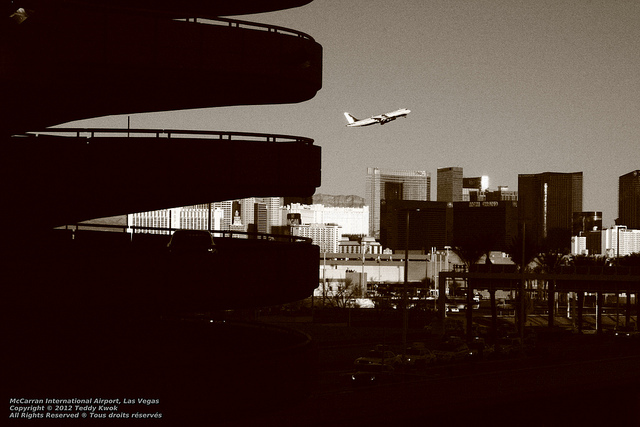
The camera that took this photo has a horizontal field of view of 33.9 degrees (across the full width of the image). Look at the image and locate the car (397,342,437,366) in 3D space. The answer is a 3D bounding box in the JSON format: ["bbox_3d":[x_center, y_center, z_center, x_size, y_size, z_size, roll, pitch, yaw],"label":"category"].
[{"bbox_3d":[5.860,8.570,62.944,1.600,0.970,3.667,-4,-5,24],"label":"car"}]

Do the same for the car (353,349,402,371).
[{"bbox_3d":[3.237,8.298,59.835,2.126,1.034,3.183,-3,-5,15],"label":"car"}]
